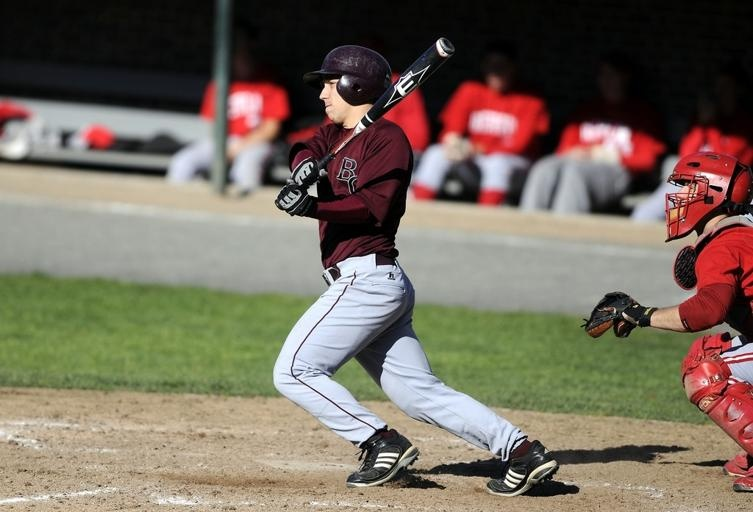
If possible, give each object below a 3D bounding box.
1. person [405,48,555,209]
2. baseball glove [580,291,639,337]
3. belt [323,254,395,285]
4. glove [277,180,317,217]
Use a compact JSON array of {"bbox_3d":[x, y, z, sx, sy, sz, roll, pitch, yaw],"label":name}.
[{"bbox_3d":[1.040,-1.214,12.833,1.121,1.621,0.569,14,-12,26],"label":"person"},{"bbox_3d":[1.595,0.416,8.958,0.366,0.265,0.179,-27,-19,14],"label":"baseball glove"},{"bbox_3d":[-0.114,0.095,8.714,0.336,0.230,0.122,-27,-29,10],"label":"belt"},{"bbox_3d":[-0.524,-0.360,8.535,0.289,0.209,0.165,6,5,7],"label":"glove"}]
